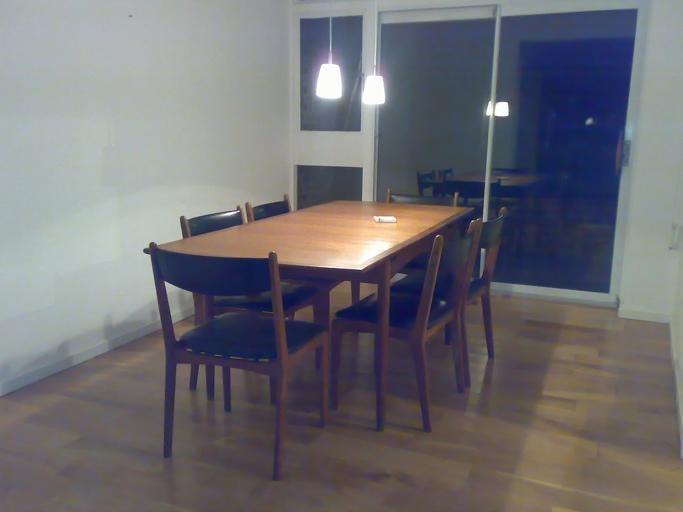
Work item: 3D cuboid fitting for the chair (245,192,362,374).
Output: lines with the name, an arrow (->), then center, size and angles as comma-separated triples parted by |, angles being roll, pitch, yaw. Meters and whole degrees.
chair -> -0.208, 0.119, 4.014 | 0.658, 0.503, 1.080 | 4, 26, 16

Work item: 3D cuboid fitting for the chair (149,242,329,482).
chair -> -0.482, 0.420, 2.626 | 0.753, 1.028, 0.503 | 5, 17, 15
